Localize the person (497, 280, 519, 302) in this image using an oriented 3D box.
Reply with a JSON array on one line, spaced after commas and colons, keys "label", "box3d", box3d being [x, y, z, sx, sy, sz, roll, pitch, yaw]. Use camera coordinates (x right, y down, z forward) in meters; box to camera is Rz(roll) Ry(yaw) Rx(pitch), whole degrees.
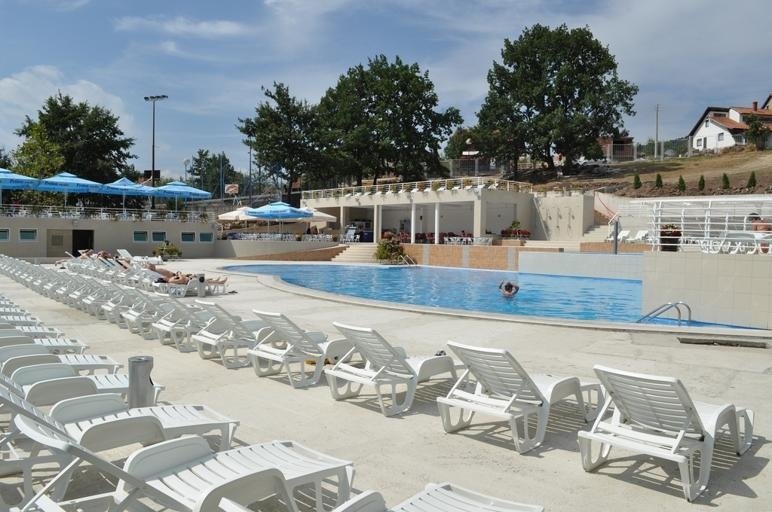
[{"label": "person", "box3d": [4.490, 1.235, 24.056, 0.759, 0.348, 0.788, 1, 4, 9]}]
